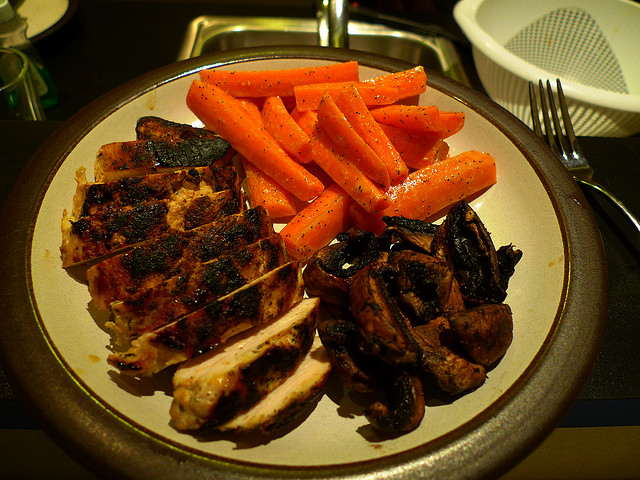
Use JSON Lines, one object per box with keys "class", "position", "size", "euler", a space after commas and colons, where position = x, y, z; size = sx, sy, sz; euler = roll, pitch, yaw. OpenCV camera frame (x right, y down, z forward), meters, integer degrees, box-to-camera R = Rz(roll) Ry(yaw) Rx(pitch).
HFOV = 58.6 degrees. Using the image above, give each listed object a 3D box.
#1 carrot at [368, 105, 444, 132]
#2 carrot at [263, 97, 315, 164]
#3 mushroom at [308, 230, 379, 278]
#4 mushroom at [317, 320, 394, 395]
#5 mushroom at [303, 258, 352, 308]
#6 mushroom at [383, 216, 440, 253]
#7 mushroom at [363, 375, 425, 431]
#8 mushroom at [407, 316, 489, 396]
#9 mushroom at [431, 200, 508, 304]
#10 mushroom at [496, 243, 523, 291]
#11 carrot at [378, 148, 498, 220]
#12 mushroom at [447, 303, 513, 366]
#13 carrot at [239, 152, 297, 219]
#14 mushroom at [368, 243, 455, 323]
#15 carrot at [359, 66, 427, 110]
{"class": "carrot", "position": [0.403, -0.563, 2.631], "size": [0.322, 0.109, 0.133], "euler": [16, 47, 30]}
{"class": "carrot", "position": [-0.142, -0.495, 2.631], "size": [0.117, 0.107, 0.325], "euler": [-40, 58, 9]}
{"class": "mushroom", "position": [0.106, 0.059, 2.420], "size": [0.350, 0.219, 0.116], "euler": [1, 33, 15]}
{"class": "mushroom", "position": [0.122, 0.437, 2.187], "size": [0.115, 0.222, 0.298], "euler": [-36, 86, -9]}
{"class": "mushroom", "position": [0.035, 0.178, 2.329], "size": [0.183, 0.166, 0.072], "euler": [43, 90, 14]}
{"class": "mushroom", "position": [0.389, -0.038, 2.358], "size": [0.179, 0.054, 0.155], "euler": [17, 15, 6]}
{"class": "mushroom", "position": [0.311, 0.629, 2.165], "size": [0.231, 0.092, 0.320], "euler": [6, 23, 19]}
{"class": "mushroom", "position": [0.475, 0.426, 2.205], "size": [0.238, 0.095, 0.372], "euler": [-25, 49, -28]}
{"class": "mushroom", "position": [0.564, 0.079, 2.338], "size": [0.269, 0.124, 0.386], "euler": [-19, 86, -36]}
{"class": "mushroom", "position": [0.773, 0.104, 2.325], "size": [0.114, 0.051, 0.177], "euler": [21, 76, 27]}
{"class": "carrot", "position": [0.582, -0.294, 2.647], "size": [0.504, 0.138, 0.166], "euler": [-12, 23, -9]}
{"class": "mushroom", "position": [0.642, 0.333, 2.160], "size": [0.258, 0.101, 0.234], "euler": [-16, 60, -3]}
{"class": "carrot", "position": [-0.240, -0.231, 2.649], "size": [0.162, 0.092, 0.303], "euler": [-34, 79, -1]}
{"class": "mushroom", "position": [0.372, 0.163, 2.265], "size": [0.303, 0.130, 0.260], "euler": [38, 84, 17]}
{"class": "carrot", "position": [0.349, -0.745, 2.700], "size": [0.290, 0.118, 0.171], "euler": [-11, 37, 4]}
